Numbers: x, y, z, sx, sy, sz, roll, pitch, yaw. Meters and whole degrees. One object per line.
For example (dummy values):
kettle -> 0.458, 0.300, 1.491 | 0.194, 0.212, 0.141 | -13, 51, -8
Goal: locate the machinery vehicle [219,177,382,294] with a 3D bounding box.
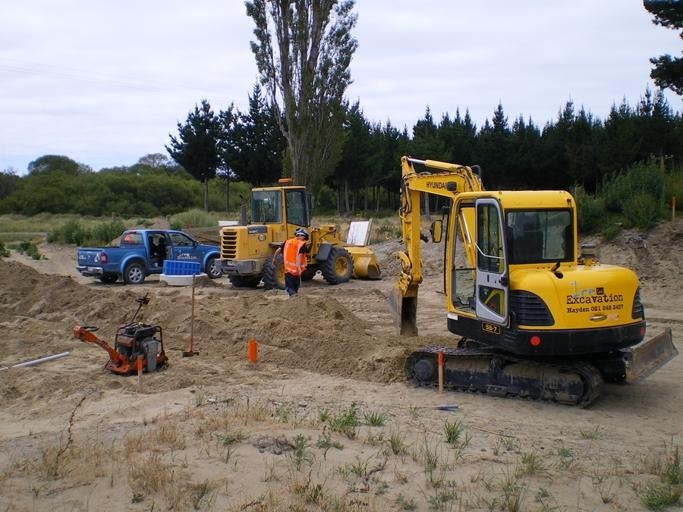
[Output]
machinery vehicle -> -1.206, -0.736, 21.931 | 4.707, 3.677, 2.629 | -6, 5, -38

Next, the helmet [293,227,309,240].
helmet -> -1.099, -0.615, 18.501 | 0.364, 0.425, 0.349 | -8, 10, -25

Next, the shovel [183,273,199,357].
shovel -> -2.936, 1.321, 13.696 | 0.289, 1.680, 0.096 | 10, -12, -42

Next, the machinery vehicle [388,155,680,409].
machinery vehicle -> 4.091, 0.521, 14.148 | 3.127, 5.126, 6.166 | 0, 0, -38

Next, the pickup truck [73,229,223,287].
pickup truck -> -6.231, 0.014, 22.780 | 4.603, 1.922, 2.140 | -5, 6, -38
